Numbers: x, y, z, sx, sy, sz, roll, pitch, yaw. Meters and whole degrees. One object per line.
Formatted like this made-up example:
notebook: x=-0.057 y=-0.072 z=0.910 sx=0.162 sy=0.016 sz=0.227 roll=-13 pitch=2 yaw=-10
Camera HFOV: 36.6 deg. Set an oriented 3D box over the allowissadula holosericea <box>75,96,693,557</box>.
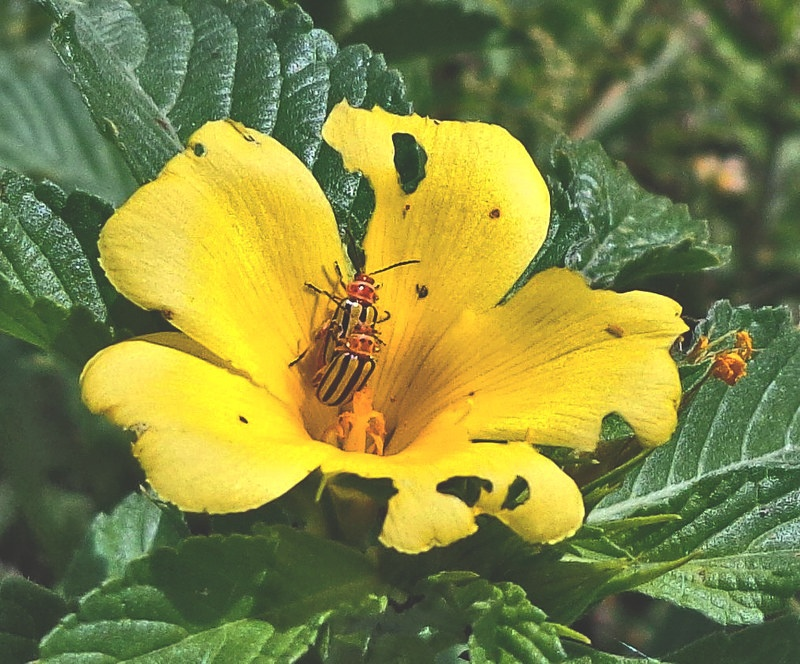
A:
allowissadula holosericea: x=-0.012 y=-0.008 z=1.848 sx=0.847 sy=0.407 sz=0.688 roll=12 pitch=74 yaw=1
